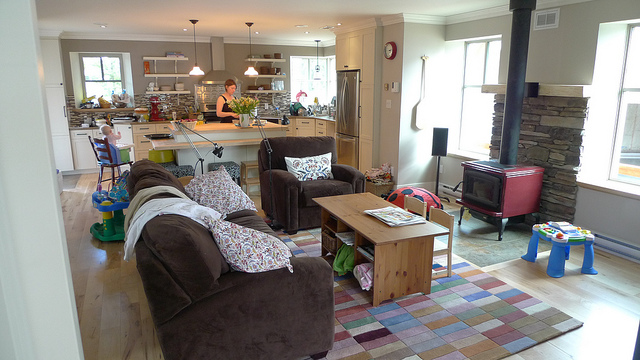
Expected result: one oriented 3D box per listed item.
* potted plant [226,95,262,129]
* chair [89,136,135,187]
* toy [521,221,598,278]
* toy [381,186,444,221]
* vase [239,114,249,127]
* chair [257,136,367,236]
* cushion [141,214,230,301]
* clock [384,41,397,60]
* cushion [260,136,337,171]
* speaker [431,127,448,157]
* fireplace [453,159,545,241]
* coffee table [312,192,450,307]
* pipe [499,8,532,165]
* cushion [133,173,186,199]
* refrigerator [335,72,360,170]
[{"bbox_3d":[-1.389,-1.226,7.517,0.473,0.454,0.465,-8,11,-29],"label":"potted plant"},{"bbox_3d":[-3.587,-0.286,7.211,0.599,0.830,0.616,7,11,35],"label":"chair"},{"bbox_3d":[3.041,0.841,5.343,0.779,0.542,0.719,-5,12,-18],"label":"toy"},{"bbox_3d":[1.390,0.286,6.336,0.633,0.188,0.633,10,10,0],"label":"toy"},{"bbox_3d":[-1.422,-1.079,7.416,0.246,0.208,0.149,-6,12,-33],"label":"vase"},{"bbox_3d":[-0.114,0.016,6.440,1.579,1.167,1.390,-2,18,-12],"label":"chair"},{"bbox_3d":[-1.195,0.680,3.749,0.663,0.694,0.456,6,19,26],"label":"cushion"},{"bbox_3d":[1.289,-2.366,7.503,0.088,0.317,0.323,-11,18,-21],"label":"clock"},{"bbox_3d":[-0.334,-0.490,6.401,1.145,0.672,0.586,-2,3,-16],"label":"cushion"},{"bbox_3d":[2.091,-0.656,7.147,0.244,0.490,0.252,1,18,13],"label":"speaker"},{"bbox_3d":[2.739,0.260,6.308,1.020,0.963,1.025,-9,15,-44],"label":"fireplace"},{"bbox_3d":[0.656,0.845,5.222,0.960,0.743,1.674,-4,13,-25],"label":"coffee table"},{"bbox_3d":[2.791,-1.296,5.879,0.244,2.178,0.490,5,20,24],"label":"pipe"},{"bbox_3d":[-1.773,0.026,4.494,0.546,0.394,0.151,0,11,14],"label":"cushion"},{"bbox_3d":[0.599,-1.243,8.590,0.367,1.947,0.940,-10,19,-20],"label":"refrigerator"}]
